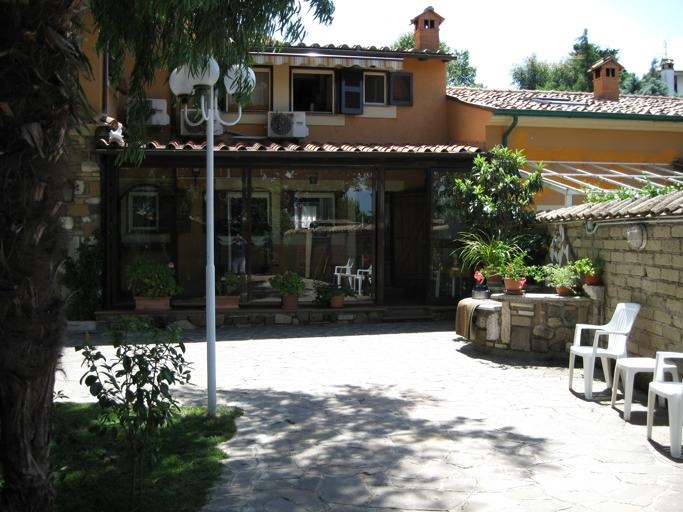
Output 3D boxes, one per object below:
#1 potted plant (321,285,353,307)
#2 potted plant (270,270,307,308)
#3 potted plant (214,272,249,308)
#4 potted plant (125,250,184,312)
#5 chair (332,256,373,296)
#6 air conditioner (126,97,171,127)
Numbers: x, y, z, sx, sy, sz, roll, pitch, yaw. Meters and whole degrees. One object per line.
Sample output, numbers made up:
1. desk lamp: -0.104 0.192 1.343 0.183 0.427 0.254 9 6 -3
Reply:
1. potted plant: -0.192 0.830 13.276 0.428 0.339 0.450 1 -4 -7
2. potted plant: -1.146 0.694 13.205 0.609 0.742 0.384 5 8 42
3. potted plant: -2.247 0.641 13.233 0.734 1.019 0.608 1 1 0
4. potted plant: -3.848 0.493 13.175 0.922 1.315 1.167 -1 1 0
5. chair: 0.326 0.467 13.615 0.779 1.119 0.772 -3 -6 37
6. air conditioner: -4.317 -3.431 14.842 0.527 0.712 1.027 -1 6 -15
